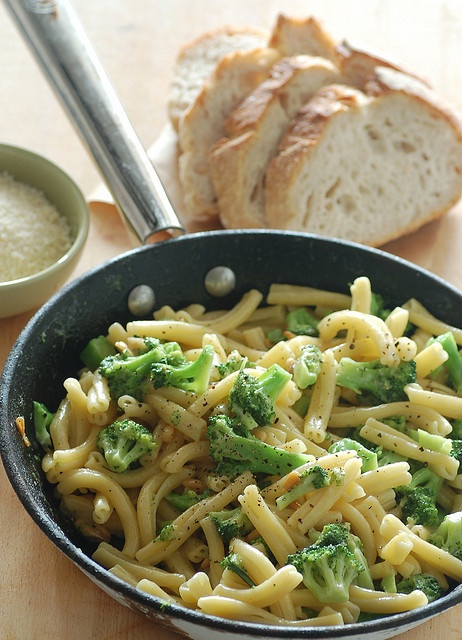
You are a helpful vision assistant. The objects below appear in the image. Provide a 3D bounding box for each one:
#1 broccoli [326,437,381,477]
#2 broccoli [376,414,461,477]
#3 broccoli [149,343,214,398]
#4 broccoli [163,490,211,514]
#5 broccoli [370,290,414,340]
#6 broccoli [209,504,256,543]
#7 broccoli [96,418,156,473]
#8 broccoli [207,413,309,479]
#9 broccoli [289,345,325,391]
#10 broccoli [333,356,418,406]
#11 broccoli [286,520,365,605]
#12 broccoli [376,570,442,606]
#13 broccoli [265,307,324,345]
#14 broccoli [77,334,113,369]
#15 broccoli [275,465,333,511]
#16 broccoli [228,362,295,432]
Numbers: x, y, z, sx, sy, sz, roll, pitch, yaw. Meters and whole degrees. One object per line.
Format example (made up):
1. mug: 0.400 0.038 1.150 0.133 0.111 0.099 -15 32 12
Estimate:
1. broccoli: 0.293 0.312 1.471 0.084 0.030 0.081 -15 35 -39
2. broccoli: 0.422 0.304 1.571 0.257 0.068 0.079 30 21 28
3. broccoli: -0.118 0.123 1.563 0.141 0.069 0.108 3 56 12
4. broccoli: -0.103 0.418 1.469 0.115 0.060 0.047 1 57 11
5. broccoli: 0.502 -0.005 1.871 0.081 0.124 0.038 15 63 42
6. broccoli: 0.002 0.443 1.380 0.072 0.052 0.071 -26 55 -8
7. broccoli: -0.242 0.289 1.481 0.120 0.105 0.103 5 57 12
8. broccoli: 0.046 0.304 1.421 0.239 0.091 0.115 19 61 21
9. broccoli: 0.190 0.118 1.589 0.063 0.037 0.107 -16 38 35
10. broccoli: 0.379 0.149 1.670 0.226 0.163 0.103 9 93 1
11. broccoli: 0.185 0.483 1.244 0.123 0.159 0.089 -16 24 0
12. broccoli: 0.384 0.556 1.340 0.077 0.074 0.021 10 100 22
13. broccoli: 0.193 0.011 1.901 0.133 0.042 0.116 -4 39 9
14. broccoli: -0.370 0.089 1.740 0.065 0.087 0.082 -10 75 -25
15. broccoli: 0.158 0.351 1.343 0.131 0.058 0.069 -33 72 10
16. broccoli: 0.069 0.170 1.510 0.161 0.077 0.125 -45 37 -21
